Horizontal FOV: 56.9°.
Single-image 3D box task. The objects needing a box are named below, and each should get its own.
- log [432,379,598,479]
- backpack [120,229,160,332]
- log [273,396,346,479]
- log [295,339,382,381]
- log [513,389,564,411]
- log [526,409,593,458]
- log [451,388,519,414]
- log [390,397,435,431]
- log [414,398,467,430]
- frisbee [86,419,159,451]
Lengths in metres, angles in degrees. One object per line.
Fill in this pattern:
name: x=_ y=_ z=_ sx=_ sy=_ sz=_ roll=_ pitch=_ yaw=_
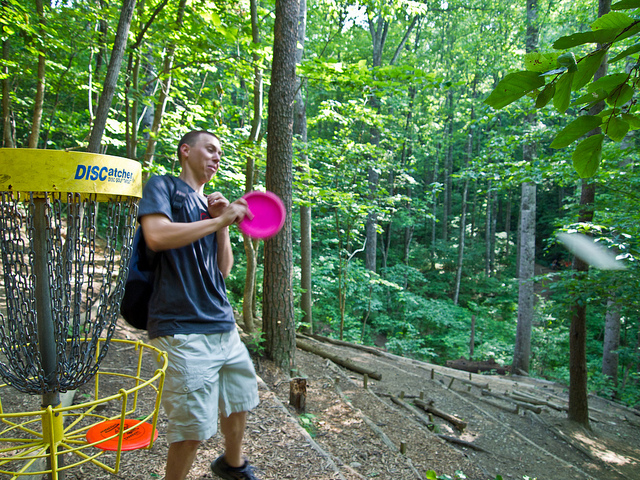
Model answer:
log: x=3.437 y=3.414 z=10.711 sx=0.374 sy=0.639 sz=3.175 roll=5 pitch=2 yaw=-39
backpack: x=-1.792 y=0.402 z=5.907 sx=0.318 sy=1.008 sz=0.170 roll=7 pitch=3 yaw=5
log: x=-0.155 y=2.606 z=7.714 sx=0.113 sy=0.085 sz=2.087 roll=47 pitch=-9 yaw=-31
log: x=0.327 y=2.361 z=11.615 sx=2.219 sy=0.210 sz=0.293 roll=16 pitch=28 yaw=21
log: x=4.597 y=3.378 z=12.581 sx=0.274 sy=0.168 sz=1.326 roll=-4 pitch=1 yaw=-21
log: x=4.366 y=3.557 z=10.788 sx=0.107 sy=0.128 sz=1.312 roll=10 pitch=15 yaw=-34
log: x=3.224 y=3.192 z=11.707 sx=1.242 sy=0.131 sz=0.160 roll=11 pitch=-15 yaw=38
log: x=1.535 y=2.837 z=9.790 sx=0.858 sy=0.137 sz=0.224 roll=28 pitch=-4 yaw=43
log: x=2.022 y=2.984 z=10.101 sx=0.691 sy=0.153 sz=0.251 roll=19 pitch=1 yaw=32
frisbee: x=-1.870 y=1.787 z=5.525 sx=0.574 sy=0.173 sz=0.609 roll=5 pitch=1 yaw=-17
